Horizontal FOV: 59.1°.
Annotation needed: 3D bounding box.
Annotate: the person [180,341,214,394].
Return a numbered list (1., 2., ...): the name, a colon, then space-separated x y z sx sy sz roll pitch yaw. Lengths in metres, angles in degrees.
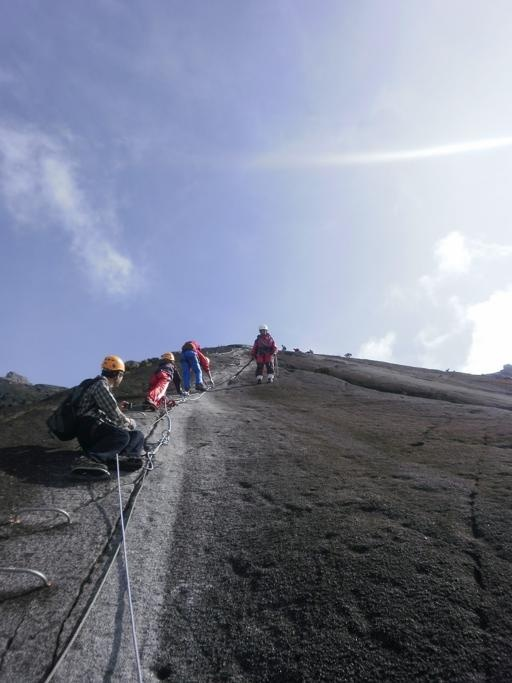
1. person: -1.549 0.721 11.516 0.684 1.330 1.708 -4 8 -5

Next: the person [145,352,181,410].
1. person: -1.731 0.993 9.162 0.563 1.630 0.550 13 -48 -2

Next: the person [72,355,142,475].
1. person: -1.624 0.956 4.987 0.685 1.184 0.580 13 -48 -30

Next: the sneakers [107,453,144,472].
1. sneakers: -1.323 1.294 4.627 0.351 0.194 0.207 -6 9 -16

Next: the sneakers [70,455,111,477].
1. sneakers: -1.577 1.270 4.377 0.353 0.171 0.150 5 34 4
